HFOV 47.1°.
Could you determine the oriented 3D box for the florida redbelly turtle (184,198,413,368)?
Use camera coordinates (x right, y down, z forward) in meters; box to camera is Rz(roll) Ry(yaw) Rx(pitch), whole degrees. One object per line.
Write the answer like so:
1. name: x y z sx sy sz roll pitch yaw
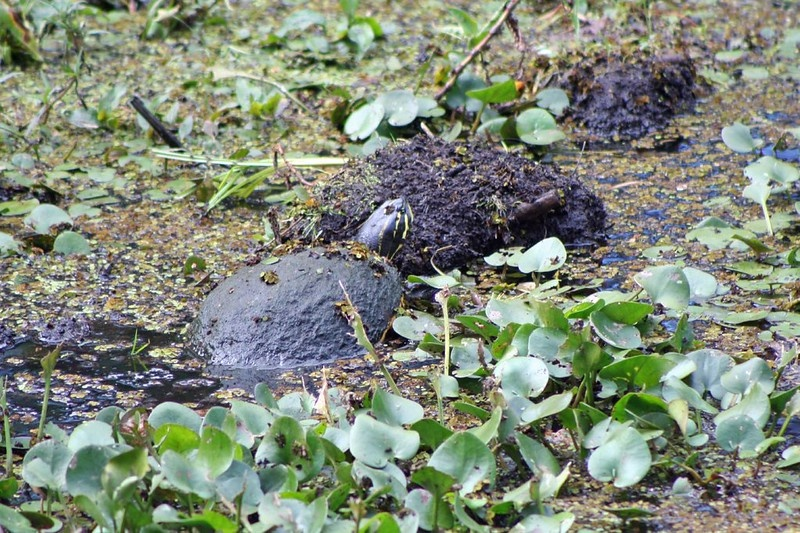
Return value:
1. florida redbelly turtle: -0.656 0.266 5.720 1.377 0.283 0.769 -11 57 -5
